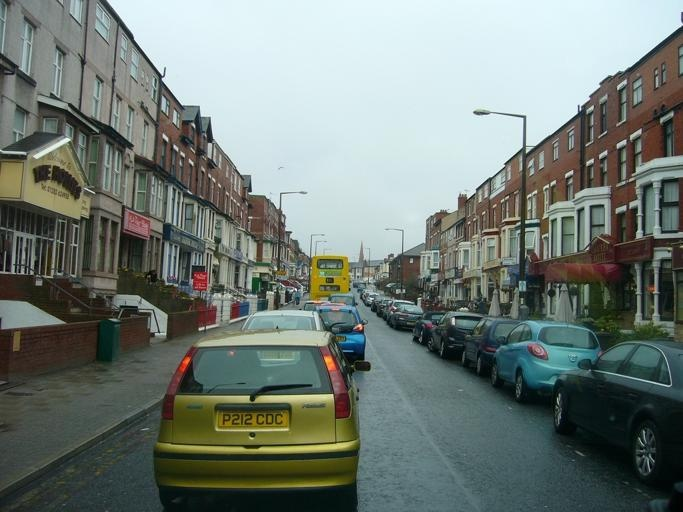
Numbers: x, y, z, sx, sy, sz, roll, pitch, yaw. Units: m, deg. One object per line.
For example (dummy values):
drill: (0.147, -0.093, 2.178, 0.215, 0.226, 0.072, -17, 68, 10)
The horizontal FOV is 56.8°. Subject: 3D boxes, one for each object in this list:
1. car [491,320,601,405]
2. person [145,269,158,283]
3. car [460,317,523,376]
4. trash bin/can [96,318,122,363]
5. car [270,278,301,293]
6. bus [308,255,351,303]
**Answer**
car: (4.538, 2.376, 14.745, 1.332, 1.291, 2.487, 1, -4, -5)
person: (-9.570, 1.042, 31.793, 0.492, 0.890, 0.319, 5, 11, 5)
car: (4.277, 2.497, 18.258, 0.982, 0.960, 1.860, 0, -1, -1)
trash bin/can: (-6.613, 2.415, 17.987, 0.638, 1.203, 0.479, 2, -6, -32)
car: (-8.715, 5.373, 102.344, 2.719, 1.261, 4.407, -3, -14, 15)
bus: (-1.527, 1.313, 39.862, 3.981, 2.311, 1.570, 1, -3, 2)
